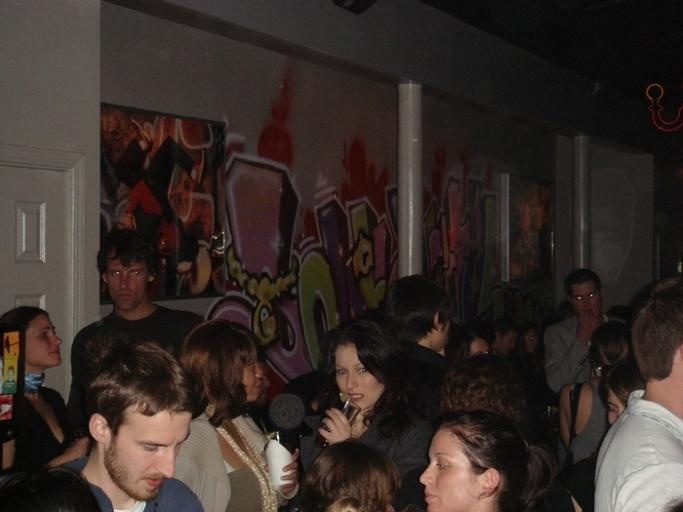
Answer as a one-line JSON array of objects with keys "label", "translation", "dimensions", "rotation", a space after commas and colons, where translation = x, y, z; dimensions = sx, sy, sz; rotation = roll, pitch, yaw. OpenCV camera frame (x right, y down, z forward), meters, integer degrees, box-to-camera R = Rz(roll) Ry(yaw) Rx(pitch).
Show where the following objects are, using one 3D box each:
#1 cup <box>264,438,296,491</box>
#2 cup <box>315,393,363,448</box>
[{"label": "cup", "translation": [-0.349, 1.147, 3.398], "dimensions": [0.146, 0.280, 0.066], "rotation": [0, -4, -9]}, {"label": "cup", "translation": [-0.011, 0.988, 3.786], "dimensions": [0.253, 0.295, 0.460], "rotation": [-1, -6, 0]}]
